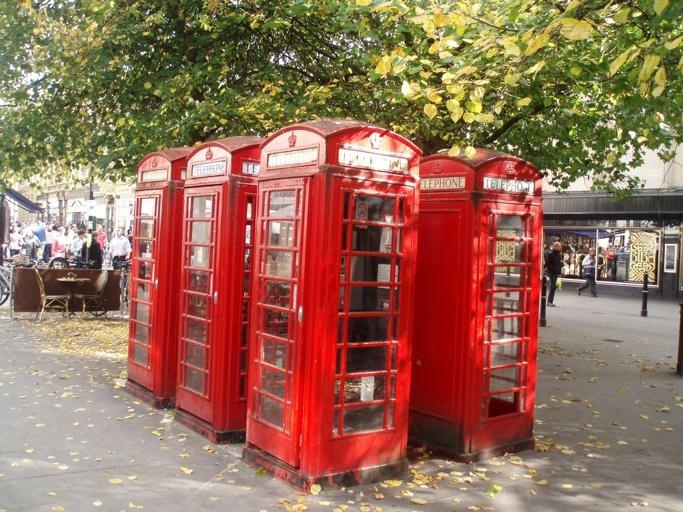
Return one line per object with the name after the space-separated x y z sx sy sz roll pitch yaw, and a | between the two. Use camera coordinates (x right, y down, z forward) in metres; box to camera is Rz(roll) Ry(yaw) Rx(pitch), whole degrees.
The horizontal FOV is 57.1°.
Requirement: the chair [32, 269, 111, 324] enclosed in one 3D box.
-6.805 0.996 15.901 1.362 0.984 1.395 2 -3 14 | chair

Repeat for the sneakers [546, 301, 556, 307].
7.659 1.772 23.002 0.563 0.244 0.186 1 10 -45 | sneakers
